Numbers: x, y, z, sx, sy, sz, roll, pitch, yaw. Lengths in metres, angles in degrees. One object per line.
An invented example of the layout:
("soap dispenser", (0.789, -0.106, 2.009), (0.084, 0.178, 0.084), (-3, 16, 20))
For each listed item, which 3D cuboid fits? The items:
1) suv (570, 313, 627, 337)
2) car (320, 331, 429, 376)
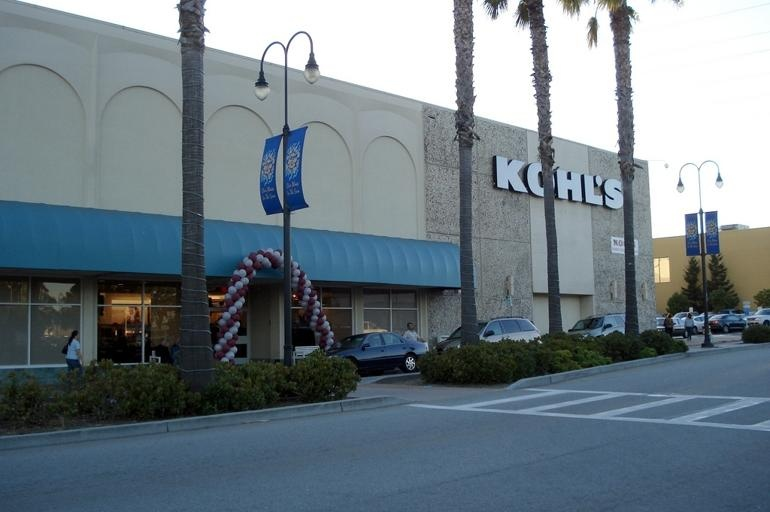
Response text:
("suv", (10.352, 3.314, 35.029), (2.620, 1.050, 2.369), (0, -9, -18))
("car", (-0.201, 3.956, 29.385), (4.401, 1.690, 1.763), (2, -3, -37))
